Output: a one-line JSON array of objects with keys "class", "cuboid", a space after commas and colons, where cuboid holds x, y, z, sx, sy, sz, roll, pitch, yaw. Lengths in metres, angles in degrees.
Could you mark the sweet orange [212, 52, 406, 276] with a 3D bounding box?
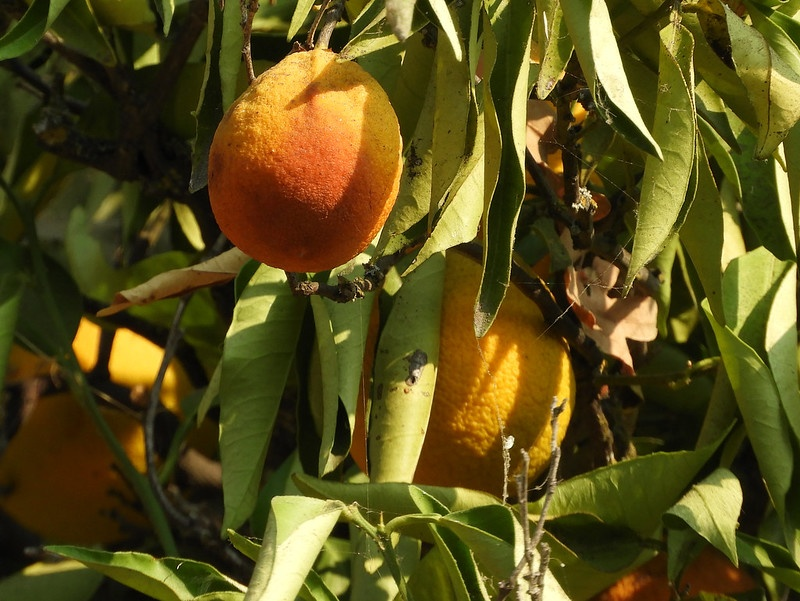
[{"class": "sweet orange", "cuboid": [-0.071, -0.118, 0.953, 0.135, 0.221, 0.168, 17, -30, -19]}]
